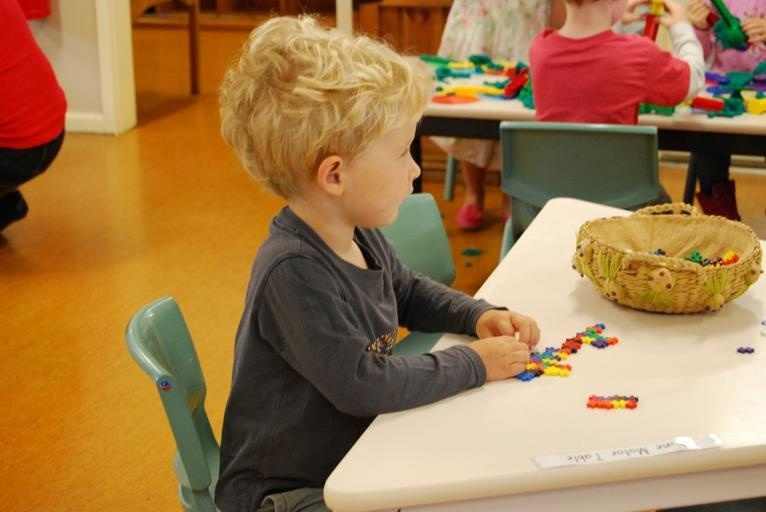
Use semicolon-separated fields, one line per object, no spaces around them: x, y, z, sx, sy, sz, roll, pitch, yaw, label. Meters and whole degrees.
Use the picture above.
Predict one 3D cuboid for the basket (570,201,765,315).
0.576;0.014;1.277;0.281;0.107;0.296;-3;17;12;basket
